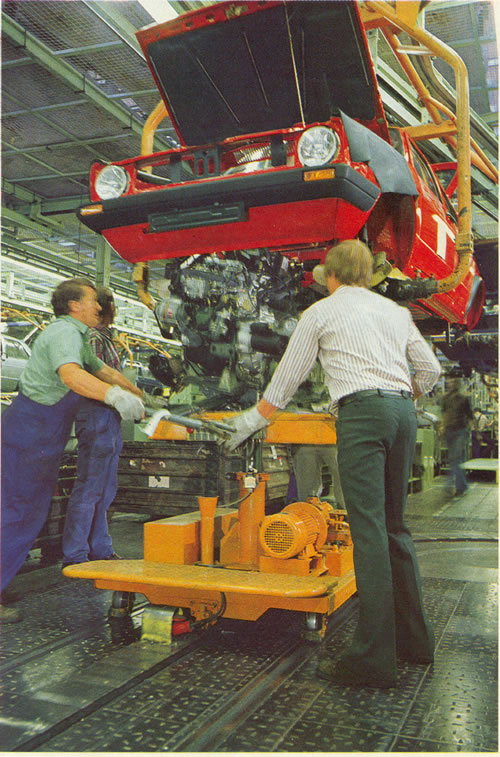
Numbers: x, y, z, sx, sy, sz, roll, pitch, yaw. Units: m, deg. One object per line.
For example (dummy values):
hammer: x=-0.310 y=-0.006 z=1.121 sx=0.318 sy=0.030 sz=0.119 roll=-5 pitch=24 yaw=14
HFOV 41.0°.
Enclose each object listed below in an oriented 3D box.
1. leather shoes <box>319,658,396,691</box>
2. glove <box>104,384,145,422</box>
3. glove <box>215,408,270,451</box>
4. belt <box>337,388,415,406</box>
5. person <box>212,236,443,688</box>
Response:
leather shoes: x=0.360 y=0.980 z=2.286 sx=0.182 sy=0.052 sz=0.119 roll=-3 pitch=-10 yaw=39
glove: x=-0.527 y=0.119 z=2.807 sx=0.076 sy=0.187 sz=0.119 roll=-40 pitch=12 yaw=40
glove: x=-0.023 y=0.201 z=2.547 sx=0.193 sy=0.123 sz=0.077 roll=-31 pitch=-31 yaw=15
belt: x=0.457 y=0.068 z=2.411 sx=0.278 sy=0.061 sz=0.164 roll=1 pitch=-3 yaw=-2
person: x=0.378 y=0.262 z=2.484 sx=0.815 sy=1.586 sz=0.464 roll=2 pitch=-4 yaw=-9
